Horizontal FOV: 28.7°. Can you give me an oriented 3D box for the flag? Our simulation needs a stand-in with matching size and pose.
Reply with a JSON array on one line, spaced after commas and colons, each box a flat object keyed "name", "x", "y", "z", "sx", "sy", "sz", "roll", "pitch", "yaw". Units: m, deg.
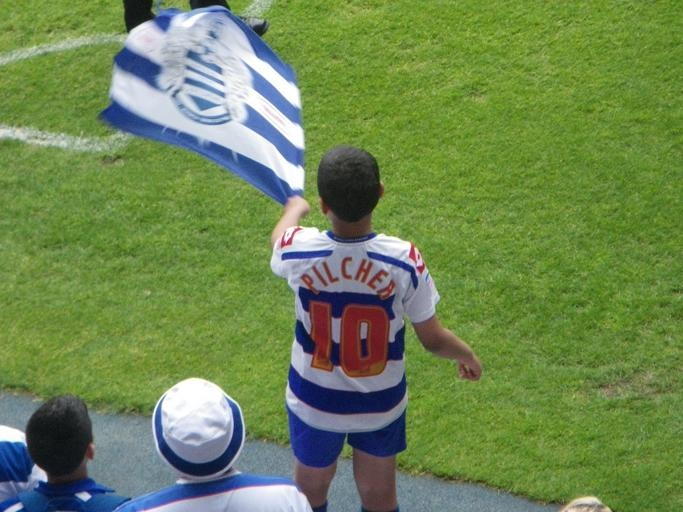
[{"name": "flag", "x": -0.953, "y": -1.184, "z": 10.343, "sx": 1.677, "sy": 0.383, "sz": 1.381, "roll": 41, "pitch": 58, "yaw": -11}]
